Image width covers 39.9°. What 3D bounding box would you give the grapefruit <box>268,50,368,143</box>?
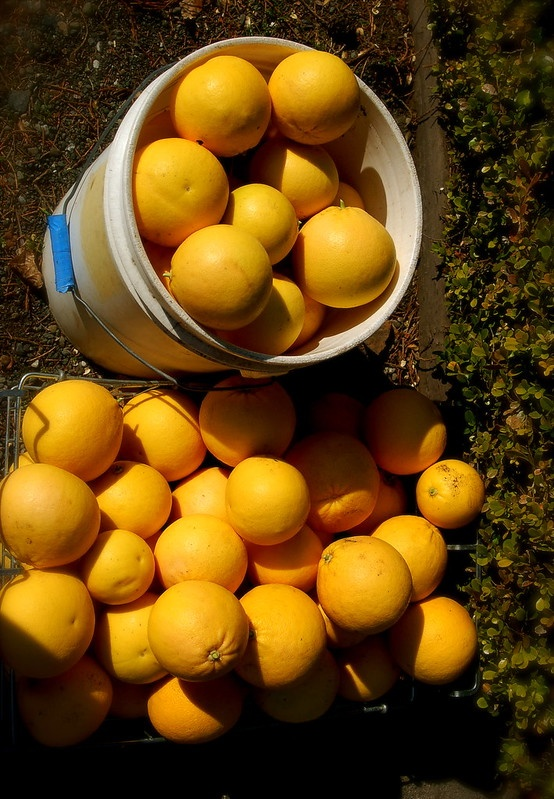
[{"bbox_3d":[0.066,-0.571,1.466,0.177,0.166,0.125,12,65,15],"label":"grapefruit"}]

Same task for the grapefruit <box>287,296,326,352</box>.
[{"bbox_3d":[0.067,-0.159,1.580,0.125,0.100,0.095,-9,103,-3],"label":"grapefruit"}]

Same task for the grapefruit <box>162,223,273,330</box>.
[{"bbox_3d":[-0.088,-0.191,1.363,0.172,0.194,0.175,-14,70,10],"label":"grapefruit"}]

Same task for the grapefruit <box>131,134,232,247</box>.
[{"bbox_3d":[-0.175,-0.379,1.399,0.163,0.160,0.152,1,62,10],"label":"grapefruit"}]

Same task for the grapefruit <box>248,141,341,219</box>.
[{"bbox_3d":[0.071,-0.448,1.537,0.110,0.102,0.115,-19,86,0],"label":"grapefruit"}]

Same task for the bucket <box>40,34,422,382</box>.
[{"bbox_3d":[-0.112,-0.404,1.714,0.720,0.699,0.691,-1,92,-19],"label":"bucket"}]
